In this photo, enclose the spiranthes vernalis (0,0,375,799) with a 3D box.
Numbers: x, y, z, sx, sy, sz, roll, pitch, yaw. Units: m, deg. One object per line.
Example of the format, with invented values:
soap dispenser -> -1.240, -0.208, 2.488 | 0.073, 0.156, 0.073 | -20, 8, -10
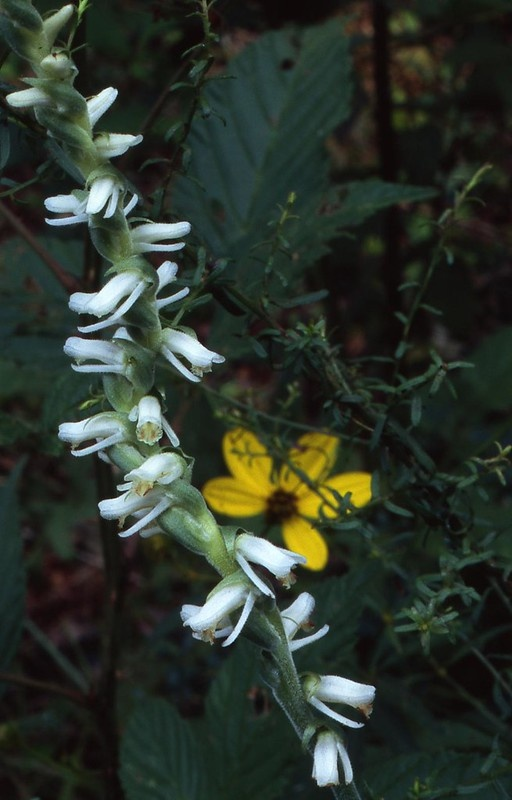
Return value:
spiranthes vernalis -> -0.036, 0.007, 0.433 | 0.137, 0.436, 0.229 | -9, 12, -9
